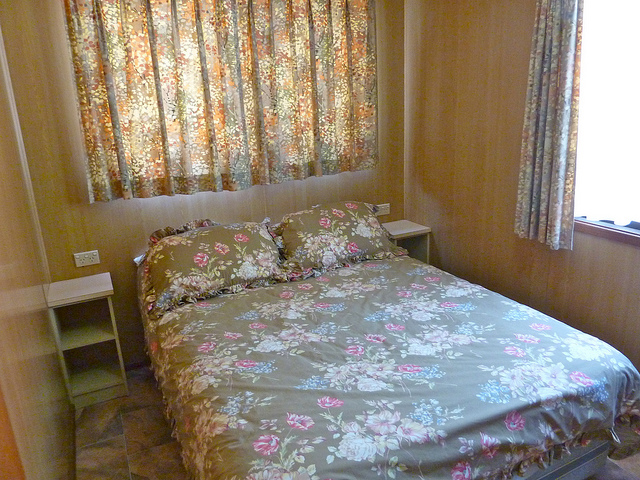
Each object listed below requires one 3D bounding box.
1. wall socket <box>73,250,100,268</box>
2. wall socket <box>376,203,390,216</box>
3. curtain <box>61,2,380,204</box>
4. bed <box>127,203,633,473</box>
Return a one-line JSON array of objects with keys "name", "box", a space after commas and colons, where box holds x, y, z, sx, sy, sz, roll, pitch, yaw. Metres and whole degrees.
[{"name": "wall socket", "box": [-1.538, 0.114, 3.078, 0.135, 0.078, 0.025, -6, 16, -28]}, {"name": "wall socket", "box": [0.532, -0.263, 3.993, 0.125, 0.075, 0.088, -14, 34, -25]}, {"name": "curtain", "box": [-0.731, -0.967, 3.163, 1.850, 1.157, 0.187, -6, 16, -21]}, {"name": "bed", "box": [0.160, 0.440, 2.605, 2.030, 0.947, 1.963, -11, 16, -20]}]
